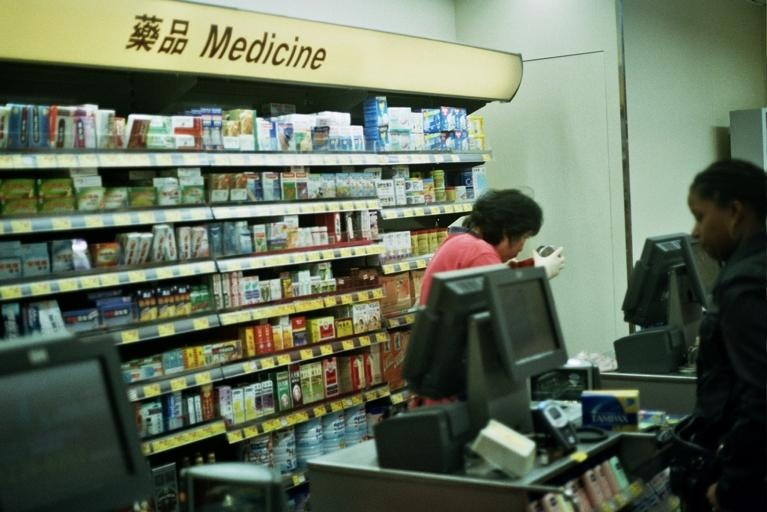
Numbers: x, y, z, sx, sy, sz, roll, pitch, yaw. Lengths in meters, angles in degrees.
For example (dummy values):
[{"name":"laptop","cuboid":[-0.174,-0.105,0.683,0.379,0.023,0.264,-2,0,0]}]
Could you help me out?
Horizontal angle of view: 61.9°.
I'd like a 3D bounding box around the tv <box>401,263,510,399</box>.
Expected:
[{"name":"tv","cuboid":[0.297,0.365,2.774,0.408,0.608,0.213,-10,11,-43]}]
